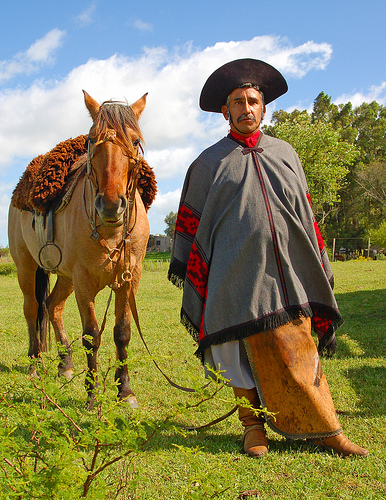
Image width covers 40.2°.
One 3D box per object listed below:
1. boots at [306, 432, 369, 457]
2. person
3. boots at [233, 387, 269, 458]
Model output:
[{"bbox_3d":[0.830,1.095,3.018,0.296,0.102,0.098,-1,-1,34],"label":"boots"},{"bbox_3d":[0.438,-0.048,3.292,0.922,2.403,1.187,-6,5,-30],"label":"person"},{"bbox_3d":[0.336,0.991,3.096,0.181,0.324,0.321,-3,4,3],"label":"boots"}]
